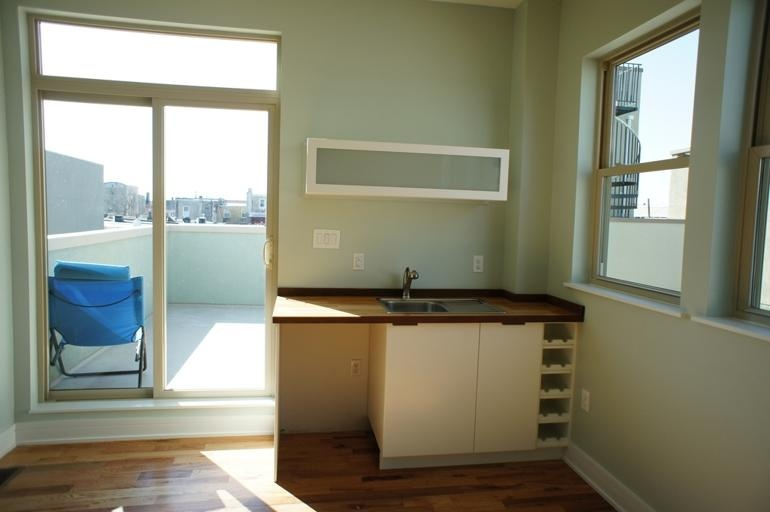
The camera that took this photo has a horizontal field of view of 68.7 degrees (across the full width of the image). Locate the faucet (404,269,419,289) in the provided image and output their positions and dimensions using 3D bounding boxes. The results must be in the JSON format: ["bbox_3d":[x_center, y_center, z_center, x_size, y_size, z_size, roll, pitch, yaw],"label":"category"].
[{"bbox_3d":[0.195,0.169,4.166,0.127,0.165,0.196,-1,7,2],"label":"faucet"}]

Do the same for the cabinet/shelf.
[{"bbox_3d":[0.559,0.940,4.182,1.374,0.986,0.703,3,0,-15],"label":"cabinet/shelf"}]

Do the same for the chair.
[{"bbox_3d":[-2.007,0.474,4.500,0.705,1.104,0.806,1,-5,-10],"label":"chair"}]
